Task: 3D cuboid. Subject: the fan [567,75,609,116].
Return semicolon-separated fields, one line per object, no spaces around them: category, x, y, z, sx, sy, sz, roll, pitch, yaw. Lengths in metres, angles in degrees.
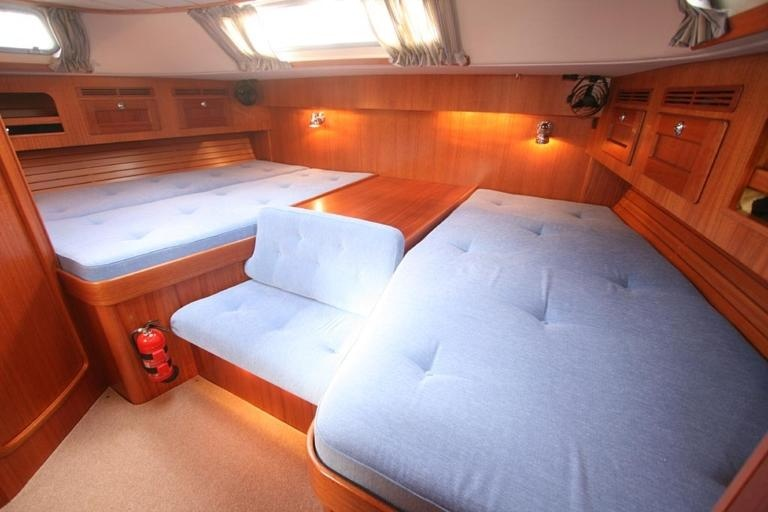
fan;1.408;-1.184;2.951;0.318;0.087;0.338;12;67;11

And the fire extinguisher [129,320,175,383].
fire extinguisher;-1.287;0.550;2.464;0.213;0.360;0.201;-15;29;-34

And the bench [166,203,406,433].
bench;-0.514;0.301;2.500;1.165;0.921;0.876;17;33;30
